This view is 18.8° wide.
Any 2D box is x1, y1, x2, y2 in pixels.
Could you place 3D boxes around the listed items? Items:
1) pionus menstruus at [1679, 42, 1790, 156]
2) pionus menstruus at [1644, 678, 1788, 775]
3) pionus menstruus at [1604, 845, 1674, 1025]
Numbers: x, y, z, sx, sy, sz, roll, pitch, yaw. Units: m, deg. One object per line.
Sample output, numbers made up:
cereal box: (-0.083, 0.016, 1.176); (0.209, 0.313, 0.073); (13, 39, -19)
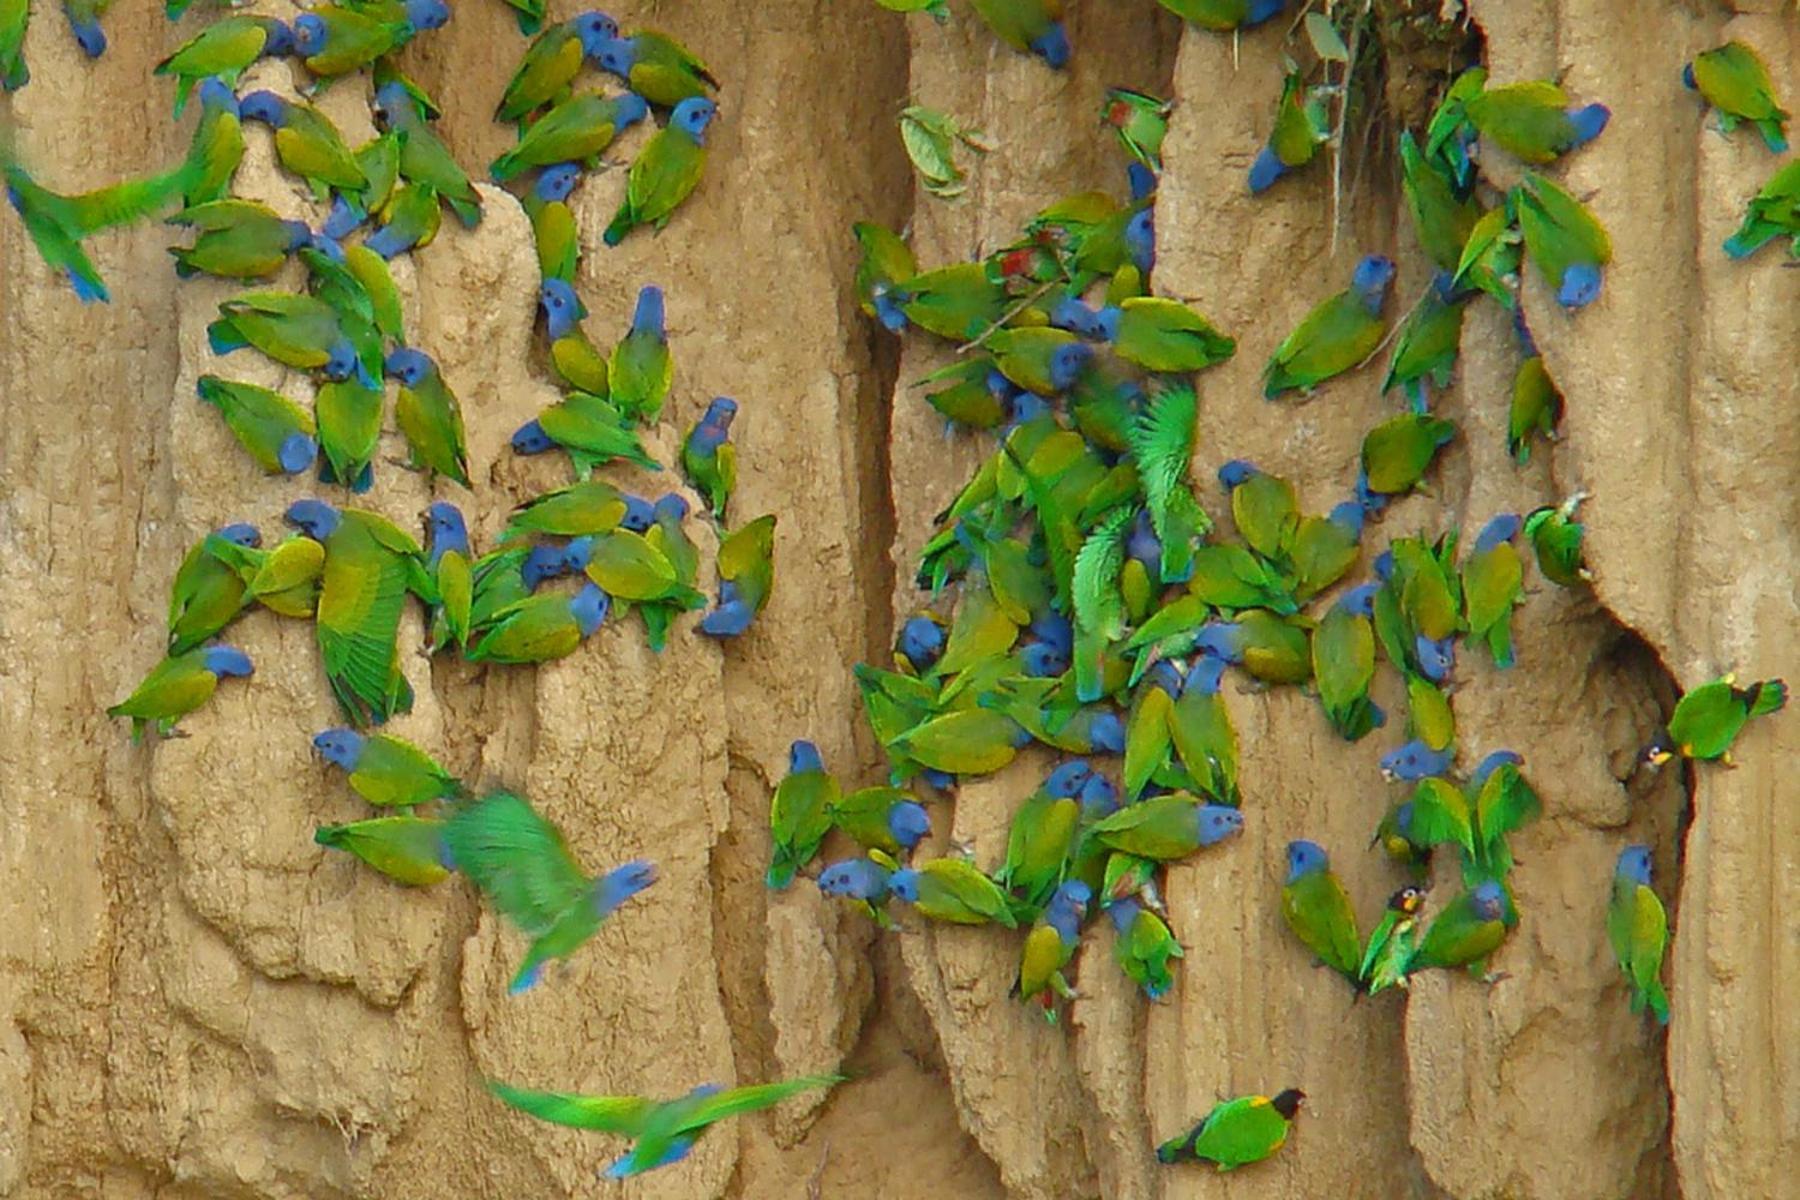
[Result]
pionus menstruus: (1.517, -0.956, 9.843); (0.229, 0.129, 0.096); (51, 14, 21)
pionus menstruus: (1.470, 0.216, 9.851); (0.107, 0.253, 0.113); (5, 49, -44)
pionus menstruus: (1.333, 0.615, 9.956); (0.141, 0.111, 0.333); (6, 78, -30)
